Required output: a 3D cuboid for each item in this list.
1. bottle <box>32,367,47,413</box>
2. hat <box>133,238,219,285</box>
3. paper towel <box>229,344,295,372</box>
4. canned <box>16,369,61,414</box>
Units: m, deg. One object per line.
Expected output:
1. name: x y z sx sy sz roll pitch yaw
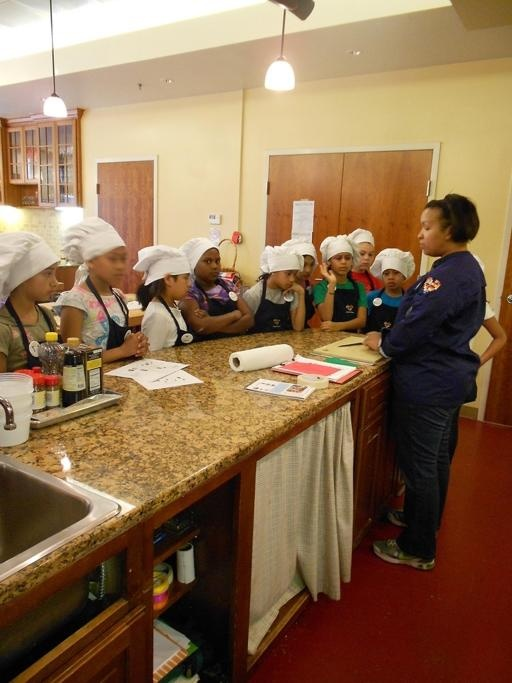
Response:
1. bottle: -0.524 0.124 1.218 0.029 0.090 0.042 -2 12 -22
2. hat: -0.383 -0.365 2.269 0.331 0.166 0.329 -11 6 30
3. paper towel: 0.020 0.062 1.864 0.279 0.081 0.084 -7 31 -41
4. canned: -0.512 0.120 1.225 0.071 0.115 0.123 1 8 -4
